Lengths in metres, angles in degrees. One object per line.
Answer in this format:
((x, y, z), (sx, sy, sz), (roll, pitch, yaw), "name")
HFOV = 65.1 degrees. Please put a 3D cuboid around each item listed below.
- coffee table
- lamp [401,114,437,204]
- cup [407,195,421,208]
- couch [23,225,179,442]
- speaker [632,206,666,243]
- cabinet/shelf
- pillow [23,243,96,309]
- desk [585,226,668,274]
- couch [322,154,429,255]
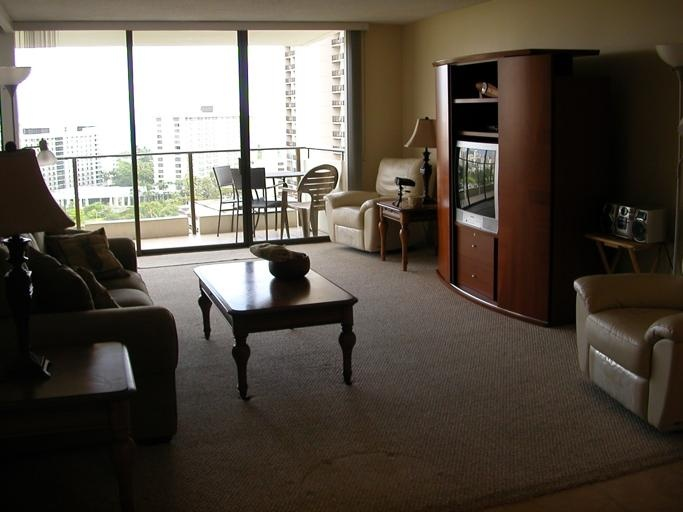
((-0.505, 0.669, 3.580), (0.743, 0.529, 1.169), (-17, -12, 35), "coffee table")
((1.027, -1.131, 6.436), (0.559, 0.935, 0.546), (-2, 6, -21), "lamp")
((0.822, -0.596, 6.015), (0.148, 0.112, 0.153), (0, 7, 0), "cup")
((-1.266, 0.401, 2.786), (0.352, 0.433, 1.076), (-4, 17, -20), "couch")
((2.304, -0.224, 4.009), (0.249, 0.248, 0.153), (-6, 5, -17), "speaker")
((1.523, -0.557, 4.408), (0.837, 2.497, 2.018), (-4, 13, -13), "cabinet/shelf")
((-1.383, 0.053, 2.770), (0.146, 0.298, 0.273), (-15, 52, -14), "pillow")
((2.220, 0.003, 4.167), (0.392, 0.379, 0.392), (-12, 19, -27), "desk")
((0.489, -0.687, 6.985), (1.088, 1.142, 1.155), (-5, 10, -26), "couch")
